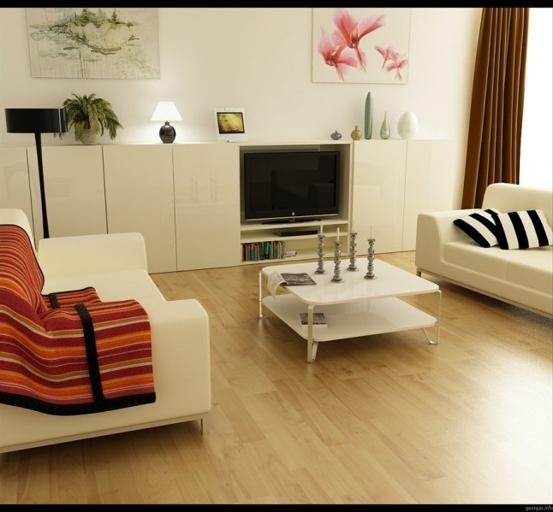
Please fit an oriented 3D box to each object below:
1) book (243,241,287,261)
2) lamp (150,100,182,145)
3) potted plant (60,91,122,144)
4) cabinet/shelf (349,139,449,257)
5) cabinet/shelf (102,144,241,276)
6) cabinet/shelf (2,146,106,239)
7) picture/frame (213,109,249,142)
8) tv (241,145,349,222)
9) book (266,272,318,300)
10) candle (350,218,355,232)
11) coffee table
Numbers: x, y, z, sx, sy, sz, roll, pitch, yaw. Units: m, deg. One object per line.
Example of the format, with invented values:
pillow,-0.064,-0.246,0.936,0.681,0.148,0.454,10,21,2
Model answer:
book,-0.128,-0.052,5.011,0.522,0.223,0.067,-4,15,-17
lamp,-1.136,-1.396,4.577,0.316,0.434,0.397,-3,14,-14
potted plant,-1.781,-1.324,4.298,0.479,0.415,0.515,-19,-1,24
cabinet/shelf,1.385,-0.703,5.090,1.416,1.340,0.456,-3,15,-14
cabinet/shelf,-1.084,-0.509,4.367,1.308,1.237,0.422,-3,17,-16
cabinet/shelf,-2.045,-0.613,3.963,0.930,0.829,0.293,-5,19,-22
picture/frame,-0.519,-1.441,4.820,0.430,0.409,0.045,-2,-2,-20
tv,0.174,-0.833,5.027,0.927,0.635,0.131,-4,20,-13
book,0.114,0.210,3.130,0.322,0.130,0.317,-1,13,-7
candle,0.927,-0.383,5.226,0.066,0.183,0.050,-4,15,-17
coffee table,0.548,0.332,3.313,1.230,0.467,0.995,-4,14,-16
